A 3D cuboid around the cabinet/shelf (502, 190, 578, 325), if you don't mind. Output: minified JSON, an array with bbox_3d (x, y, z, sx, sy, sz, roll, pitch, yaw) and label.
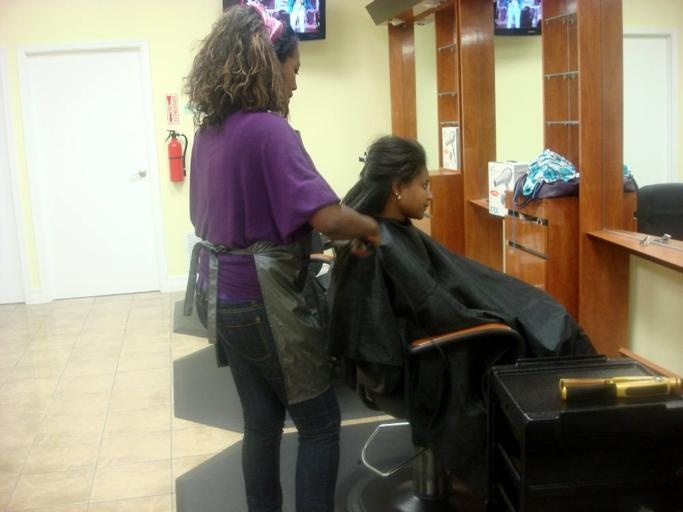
[{"bbox_3d":[0.977,-0.003,2.741,0.250,0.660,0.664,-1,4,-6],"label":"cabinet/shelf"}]

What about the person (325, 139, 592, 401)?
[{"bbox_3d":[0.421,-0.008,2.179,0.974,0.847,0.762,-5,21,-10],"label":"person"}]
